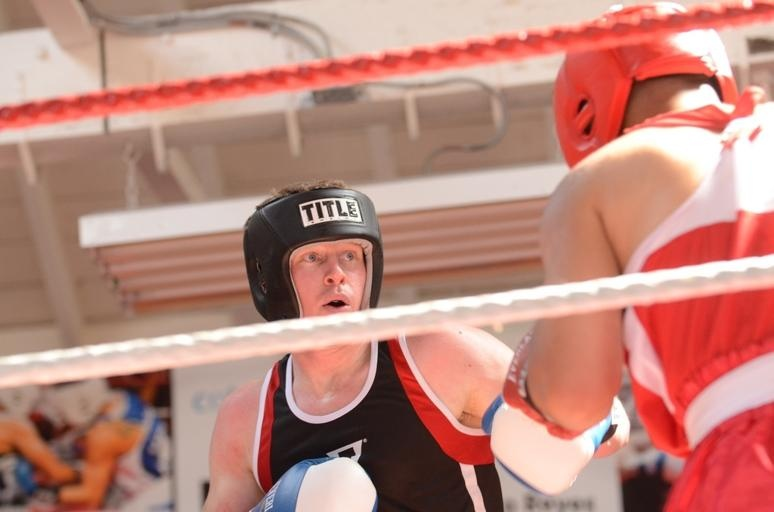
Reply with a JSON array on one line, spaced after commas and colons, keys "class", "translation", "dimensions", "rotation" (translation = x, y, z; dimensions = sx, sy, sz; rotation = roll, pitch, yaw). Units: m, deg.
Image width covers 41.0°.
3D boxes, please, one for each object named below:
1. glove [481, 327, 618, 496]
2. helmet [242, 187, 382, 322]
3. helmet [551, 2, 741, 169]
[{"class": "glove", "translation": [0.480, 0.372, 2.823], "dimensions": [0.194, 0.352, 0.440], "rotation": [-49, 8, 32]}, {"class": "helmet", "translation": [-0.290, 0.038, 3.594], "dimensions": [0.409, 0.430, 0.513], "rotation": [7, -27, -33]}, {"class": "helmet", "translation": [0.739, -0.442, 3.065], "dimensions": [0.538, 0.448, 0.426], "rotation": [-15, -15, 38]}]
